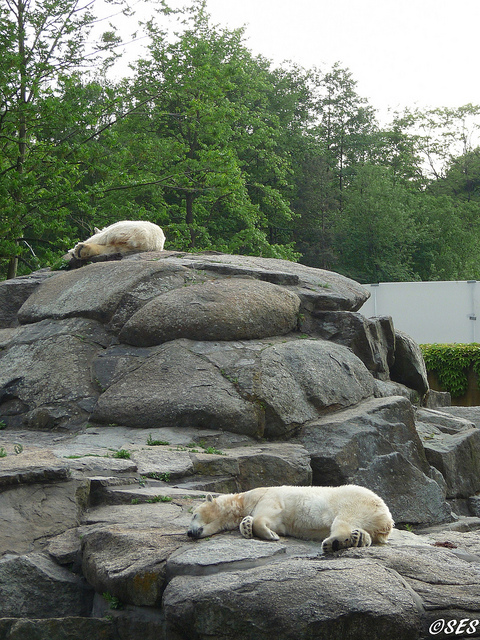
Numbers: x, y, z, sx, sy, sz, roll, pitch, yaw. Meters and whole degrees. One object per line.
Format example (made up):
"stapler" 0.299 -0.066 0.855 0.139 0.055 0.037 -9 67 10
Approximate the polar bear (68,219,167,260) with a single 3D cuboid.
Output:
"polar bear" -1.568 -1.001 11.231 0.961 0.543 0.838 1 7 32

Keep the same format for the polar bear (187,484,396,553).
"polar bear" 0.302 1.190 5.394 1.136 0.323 0.483 -1 -4 18
